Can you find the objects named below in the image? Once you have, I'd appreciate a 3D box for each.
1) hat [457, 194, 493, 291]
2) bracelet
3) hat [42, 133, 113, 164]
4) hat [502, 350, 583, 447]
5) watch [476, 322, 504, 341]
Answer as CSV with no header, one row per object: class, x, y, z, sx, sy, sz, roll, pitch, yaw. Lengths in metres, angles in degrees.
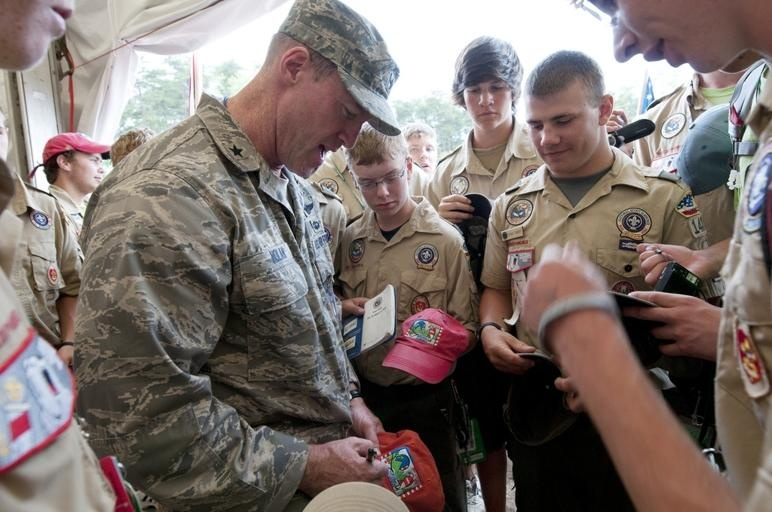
hat,0.448,-0.088,2.768,0.235,0.426,0.108,9,5,30
bracelet,0.371,0.121,1.066,0.136,0.102,0.036,-36,25,34
hat,-2.110,-0.743,3.768,0.484,0.169,0.301,-9,16,-35
hat,0.628,0.579,2.267,0.275,0.388,0.309,10,-5,29
watch,0.447,0.317,2.369,0.066,0.087,0.032,15,32,22
